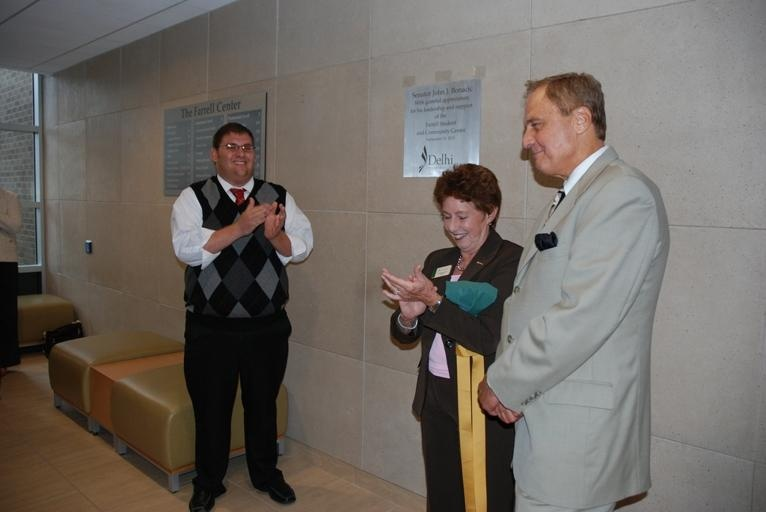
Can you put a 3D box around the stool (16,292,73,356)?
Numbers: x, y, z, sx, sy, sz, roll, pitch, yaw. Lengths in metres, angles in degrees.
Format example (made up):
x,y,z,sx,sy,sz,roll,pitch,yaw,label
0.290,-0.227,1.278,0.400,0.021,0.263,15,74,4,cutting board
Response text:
x,y,z,sx,sy,sz,roll,pitch,yaw,label
-3.856,0.750,6.662,0.578,0.536,0.577,2,4,44,stool

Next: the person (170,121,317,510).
x,y,z,sx,sy,sz,roll,pitch,yaw,label
-0.935,0.389,3.910,0.856,2.505,0.673,-3,11,-21,person

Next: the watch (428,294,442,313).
x,y,z,sx,sy,sz,roll,pitch,yaw,label
0.265,0.243,3.009,0.075,0.083,0.076,23,11,-5,watch

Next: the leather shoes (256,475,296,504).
x,y,z,sx,sy,sz,roll,pitch,yaw,label
-0.722,1.564,3.981,0.330,0.147,0.122,1,-4,39,leather shoes

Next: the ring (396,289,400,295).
x,y,z,sx,sy,sz,roll,pitch,yaw,label
0.075,0.186,3.023,0.019,0.020,0.019,1,9,0,ring

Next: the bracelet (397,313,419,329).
x,y,z,sx,sy,sz,roll,pitch,yaw,label
0.131,0.361,3.236,0.077,0.078,0.086,14,15,34,bracelet

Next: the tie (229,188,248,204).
x,y,z,sx,sy,sz,roll,pitch,yaw,label
-0.982,-0.403,3.932,0.099,0.111,0.026,0,-3,-16,tie

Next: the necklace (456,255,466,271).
x,y,z,sx,sy,sz,roll,pitch,yaw,label
0.421,0.036,3.178,0.050,0.072,0.018,-3,-14,41,necklace
